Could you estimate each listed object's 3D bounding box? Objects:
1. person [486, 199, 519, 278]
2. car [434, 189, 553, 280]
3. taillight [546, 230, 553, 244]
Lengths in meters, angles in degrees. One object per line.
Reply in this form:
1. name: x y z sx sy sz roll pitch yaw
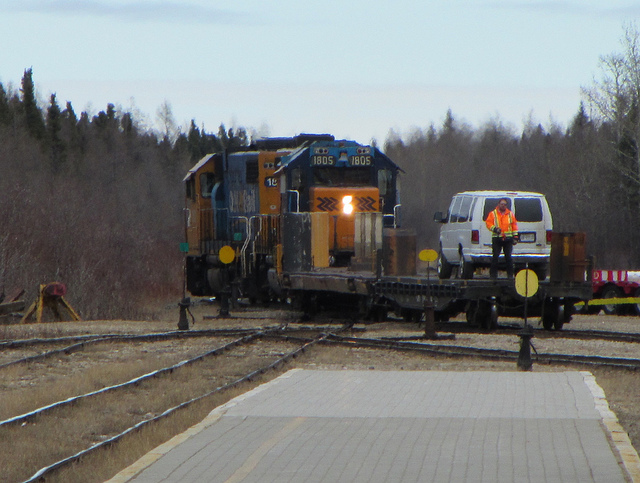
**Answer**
1. person: 4.541 -0.046 21.103 0.954 1.919 0.674 -1 1 -39
2. car: 4.368 -0.196 22.758 1.891 1.859 3.033 0 5 -13
3. taillight: 5.872 -0.101 21.939 0.112 0.337 0.320 0 1 13
